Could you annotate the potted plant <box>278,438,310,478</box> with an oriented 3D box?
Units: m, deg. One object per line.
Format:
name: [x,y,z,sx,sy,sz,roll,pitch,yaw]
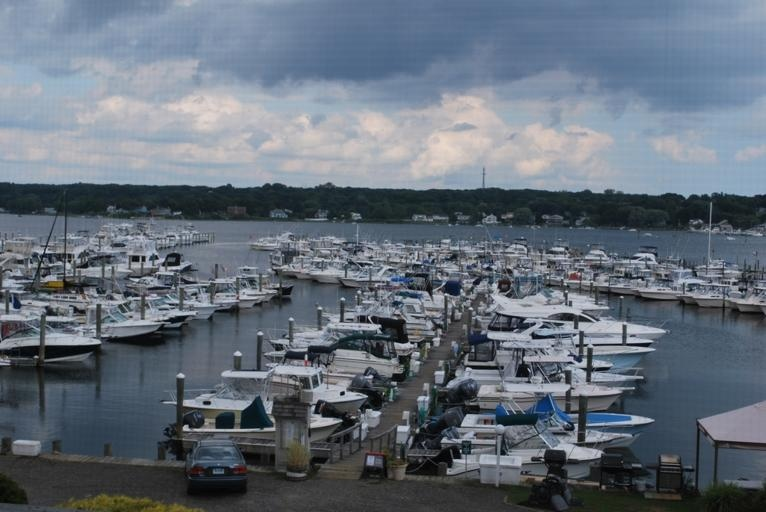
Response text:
potted plant: [-4.770,11.483,71.631,2.084,2.310,1.849,0,-3,1]

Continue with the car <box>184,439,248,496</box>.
car: [-9.078,11.628,69.438,3.007,2.077,6.763,1,2,-8]
